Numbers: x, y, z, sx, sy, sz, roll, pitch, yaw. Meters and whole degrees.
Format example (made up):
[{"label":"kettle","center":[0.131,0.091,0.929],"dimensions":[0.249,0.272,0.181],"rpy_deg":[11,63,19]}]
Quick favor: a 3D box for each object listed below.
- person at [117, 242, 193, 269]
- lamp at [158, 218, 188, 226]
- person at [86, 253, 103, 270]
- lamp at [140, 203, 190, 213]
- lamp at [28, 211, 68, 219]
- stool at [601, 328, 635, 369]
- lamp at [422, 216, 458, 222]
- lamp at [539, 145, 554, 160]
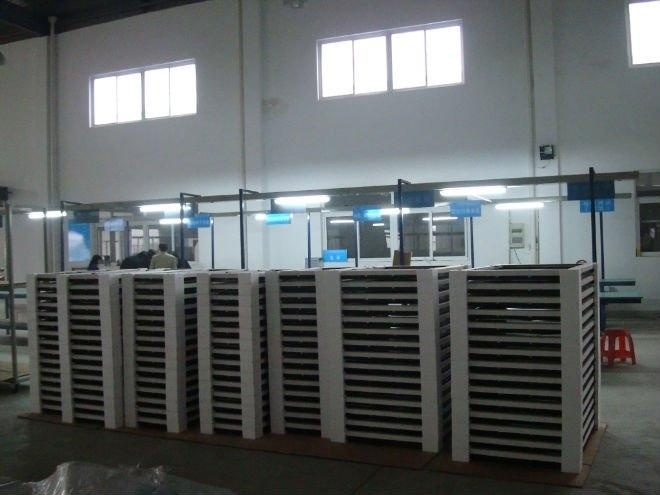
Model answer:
[{"label":"person","center":[-3.881,0.250,12.407],"dimensions":[0.918,0.373,1.219],"rpy_deg":[1,-4,-33]},{"label":"lamp","center":[-3.475,-0.588,12.944],"dimensions":[1.358,0.204,0.113],"rpy_deg":[0,-5,40]},{"label":"person","center":[-5.311,0.322,13.265],"dimensions":[0.228,0.300,0.898],"rpy_deg":[-7,15,-16]},{"label":"lamp","center":[-3.306,-0.774,11.402],"dimensions":[0.524,0.118,0.506],"rpy_deg":[0,0,-33]},{"label":"lamp","center":[-5.777,-0.683,12.014],"dimensions":[0.377,0.094,0.394],"rpy_deg":[-1,3,31]},{"label":"stool","center":[4.776,1.690,9.781],"dimensions":[0.602,0.675,0.626],"rpy_deg":[3,-5,45]},{"label":"lamp","center":[2.930,-0.758,15.606],"dimensions":[0.971,0.251,0.184],"rpy_deg":[1,14,14]},{"label":"lamp","center":[5.103,-2.247,13.824],"dimensions":[0.388,0.419,0.243],"rpy_deg":[2,6,22]}]
